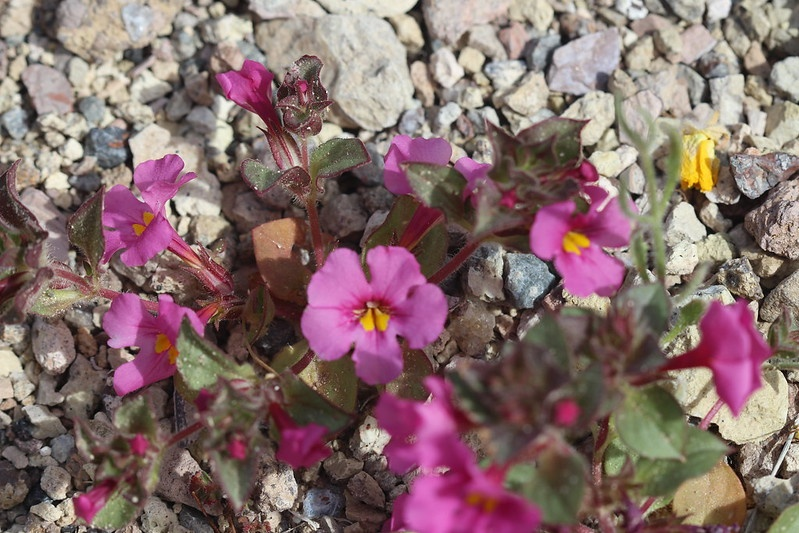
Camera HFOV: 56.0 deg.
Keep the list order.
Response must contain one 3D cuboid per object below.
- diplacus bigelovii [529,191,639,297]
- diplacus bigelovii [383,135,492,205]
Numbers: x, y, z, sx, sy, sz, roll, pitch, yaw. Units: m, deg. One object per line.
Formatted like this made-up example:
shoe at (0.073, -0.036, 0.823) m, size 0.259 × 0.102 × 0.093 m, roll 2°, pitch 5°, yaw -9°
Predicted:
diplacus bigelovii at (0.914, -0.092, 3.751) m, size 0.454 × 0.178 × 0.525 m, roll -25°, pitch 94°, yaw -20°
diplacus bigelovii at (0.199, -0.587, 4.290) m, size 0.427 × 0.171 × 0.418 m, roll 12°, pitch 49°, yaw -44°
